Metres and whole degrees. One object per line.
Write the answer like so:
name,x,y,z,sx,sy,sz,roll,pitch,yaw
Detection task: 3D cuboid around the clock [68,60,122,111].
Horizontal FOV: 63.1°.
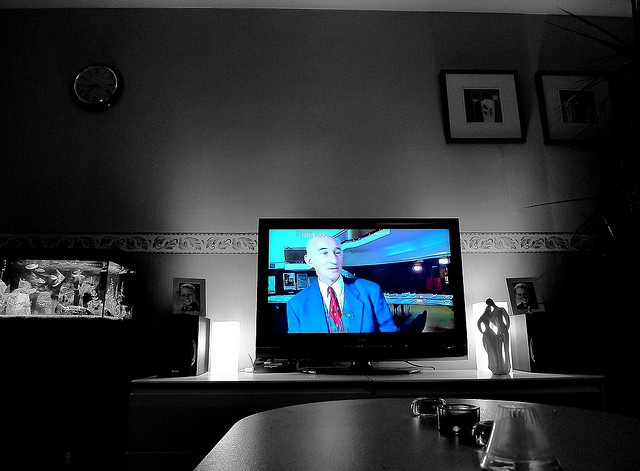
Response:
clock,-1.514,-0.987,3.486,0.316,0.326,0.052,-2,-14,1

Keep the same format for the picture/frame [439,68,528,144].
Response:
picture/frame,1.093,-0.861,3.532,0.486,0.468,0.041,-2,-8,-4

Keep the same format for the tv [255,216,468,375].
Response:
tv,0.220,0.354,3.060,0.858,0.619,0.209,0,-15,-2

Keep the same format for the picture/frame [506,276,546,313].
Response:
picture/frame,1.247,0.369,3.175,0.225,0.265,0.019,-1,-18,-6

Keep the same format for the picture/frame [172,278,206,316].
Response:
picture/frame,-0.794,0.373,3.125,0.217,0.270,0.027,2,-17,-24

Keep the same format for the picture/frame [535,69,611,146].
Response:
picture/frame,1.704,-0.849,3.529,0.527,0.462,0.046,-1,-7,-11
